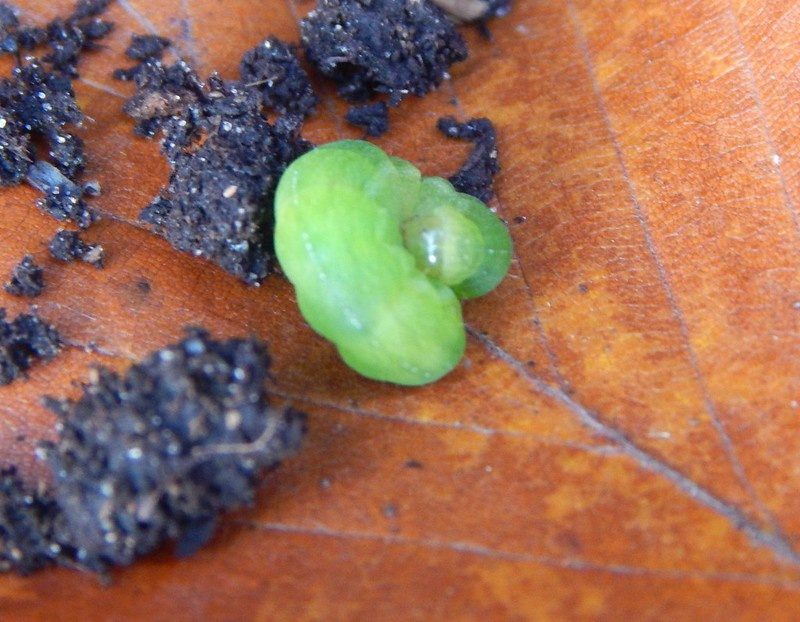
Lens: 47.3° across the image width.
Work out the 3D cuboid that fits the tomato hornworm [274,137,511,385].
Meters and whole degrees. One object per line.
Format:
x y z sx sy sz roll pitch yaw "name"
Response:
-0.010 -0.433 5.136 1.575 1.150 1.313 -5 23 9 "tomato hornworm"
